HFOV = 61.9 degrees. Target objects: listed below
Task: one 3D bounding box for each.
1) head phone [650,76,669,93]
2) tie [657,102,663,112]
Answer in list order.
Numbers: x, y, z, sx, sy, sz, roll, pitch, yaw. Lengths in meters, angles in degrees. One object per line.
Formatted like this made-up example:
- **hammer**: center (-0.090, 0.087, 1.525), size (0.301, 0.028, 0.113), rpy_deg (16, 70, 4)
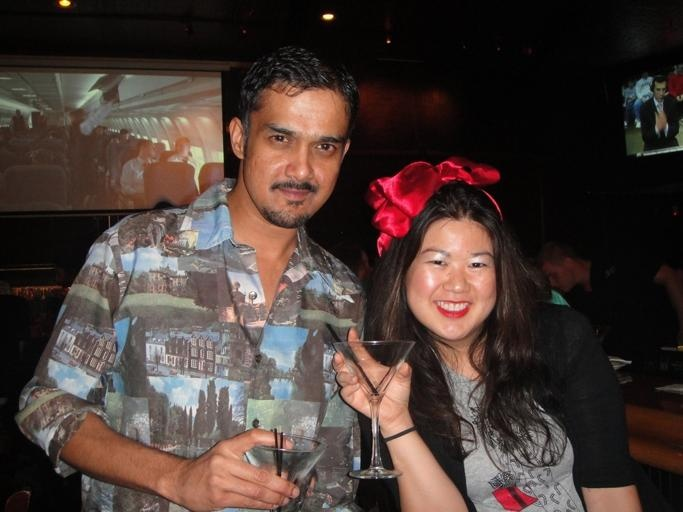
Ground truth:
- **head phone**: center (3.828, -2.084, 6.859), size (0.127, 0.168, 0.167), rpy_deg (3, 0, 7)
- **tie**: center (3.874, -1.812, 6.921), size (0.053, 0.070, 0.021), rpy_deg (16, -15, -26)
